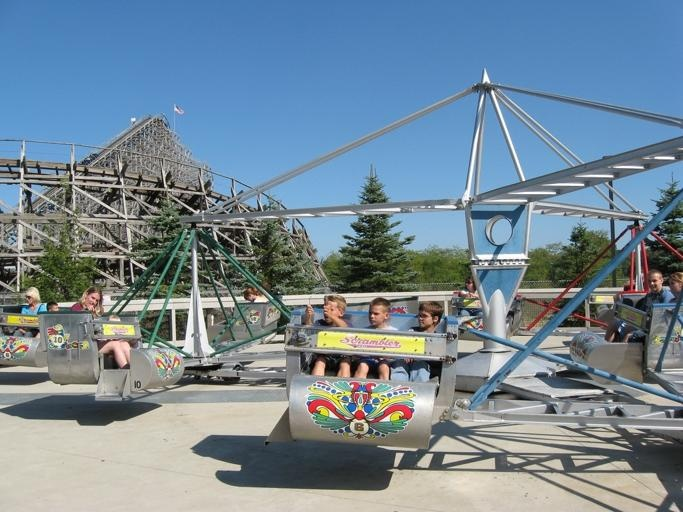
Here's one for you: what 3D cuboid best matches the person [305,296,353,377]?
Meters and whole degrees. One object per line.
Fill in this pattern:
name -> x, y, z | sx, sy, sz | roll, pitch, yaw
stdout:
person -> -0.153, 0.743, 6.631 | 0.446, 0.688, 1.037 | -1, 3, -1

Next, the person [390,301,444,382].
person -> 0.682, 0.802, 6.297 | 0.674, 0.301, 0.728 | -3, 33, -1

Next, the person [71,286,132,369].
person -> -2.903, 0.856, 8.452 | 0.561, 0.909, 1.374 | -2, 3, -19

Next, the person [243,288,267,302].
person -> -1.544, 0.691, 12.354 | 0.393, 0.304, 0.837 | -1, 2, -6
